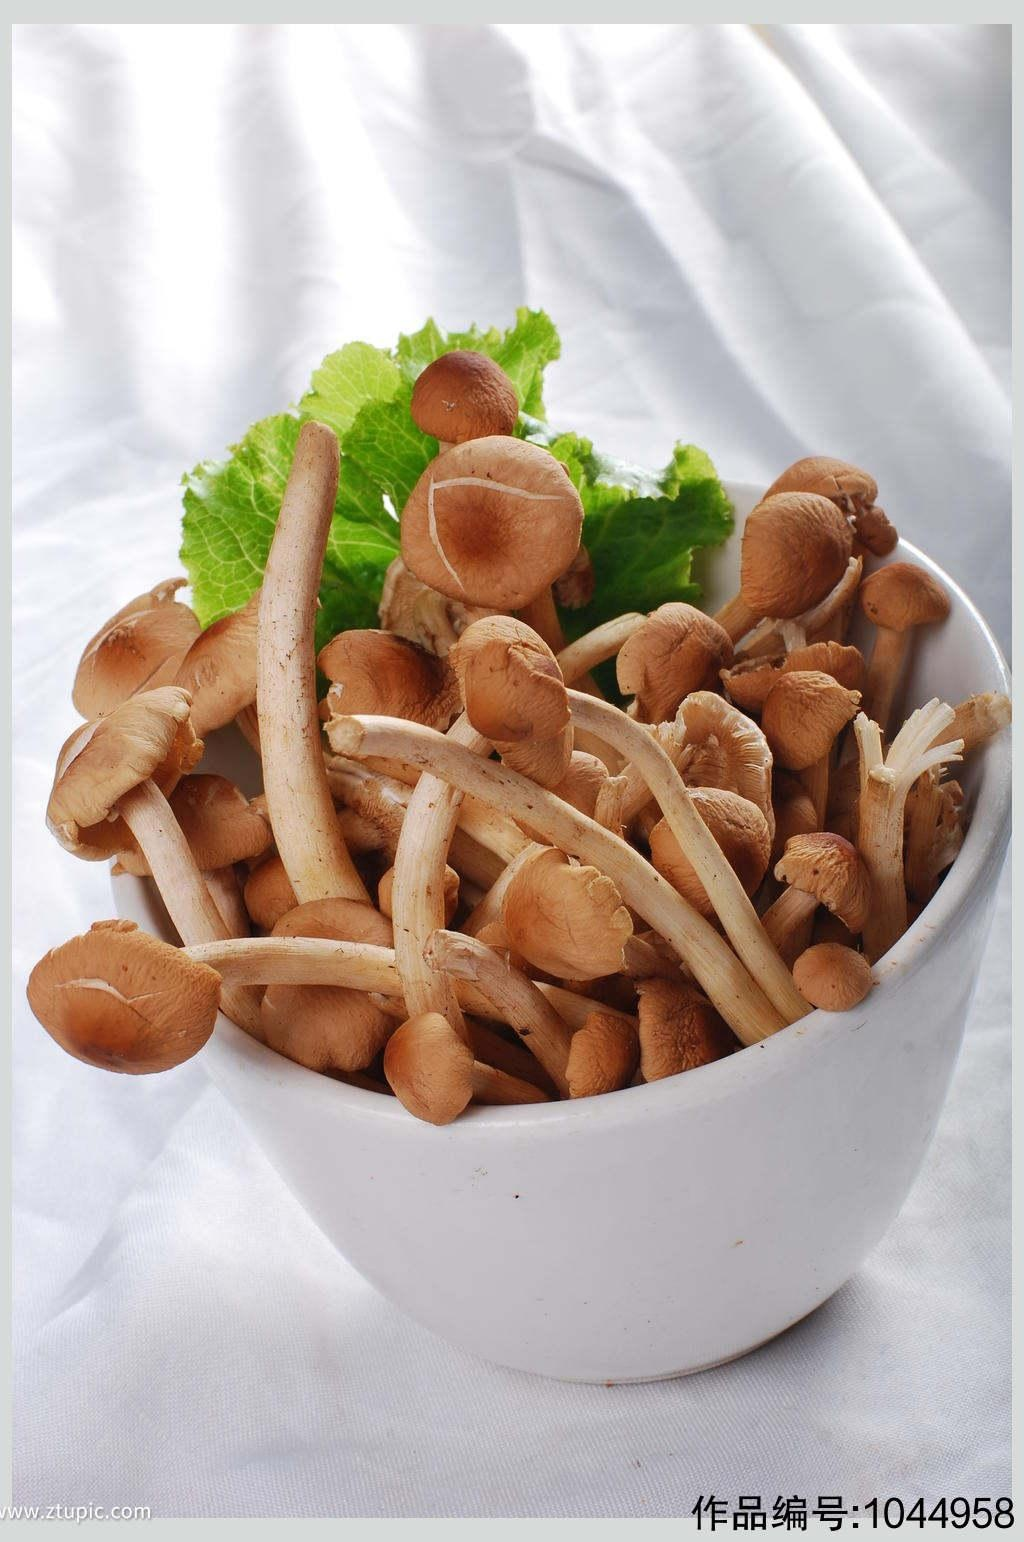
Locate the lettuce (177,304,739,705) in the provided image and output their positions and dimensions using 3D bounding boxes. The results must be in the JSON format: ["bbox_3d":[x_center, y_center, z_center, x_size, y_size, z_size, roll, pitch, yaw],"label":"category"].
[{"bbox_3d":[-0.117,-0.293,1.419,0.394,0.166,0.417,-27,1,-30],"label":"lettuce"}]

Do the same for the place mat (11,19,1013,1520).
[{"bbox_3d":[0.103,0.030,1.766,1.270,0.307,1.185,0,75,-1],"label":"place mat"}]
